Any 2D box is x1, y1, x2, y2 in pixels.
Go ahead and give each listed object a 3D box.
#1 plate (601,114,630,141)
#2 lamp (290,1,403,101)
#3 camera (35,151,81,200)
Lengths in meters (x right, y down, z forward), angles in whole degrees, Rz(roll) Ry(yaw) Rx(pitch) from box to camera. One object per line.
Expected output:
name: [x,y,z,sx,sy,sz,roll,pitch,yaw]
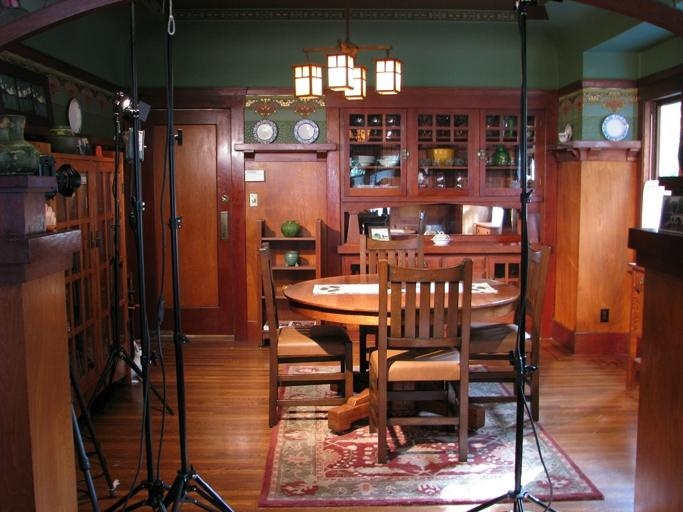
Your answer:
plate: [2.444,-1.150,5.543,0.253,0.252,0.042,1,2,-1]
lamp: [0.094,-1.204,4.466,0.869,0.937,0.871,0,9,7]
camera: [-1.448,-0.427,3.289,0.147,0.111,0.236,-2,-20,-7]
